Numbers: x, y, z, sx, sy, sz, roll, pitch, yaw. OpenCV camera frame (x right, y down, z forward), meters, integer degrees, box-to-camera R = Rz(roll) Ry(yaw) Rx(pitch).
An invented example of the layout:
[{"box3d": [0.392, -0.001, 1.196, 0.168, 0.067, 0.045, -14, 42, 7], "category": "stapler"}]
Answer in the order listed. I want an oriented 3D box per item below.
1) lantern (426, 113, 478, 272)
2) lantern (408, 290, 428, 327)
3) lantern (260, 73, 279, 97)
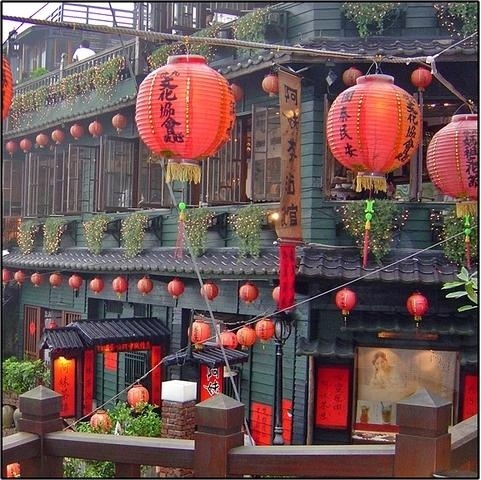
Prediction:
[{"box3d": [2.658, -0.925, 13.366, 0.695, 1.248, 0.321, 3, 10, 38], "category": "lantern"}, {"box3d": [2.431, 0.948, 14.811, 0.270, 0.553, 0.764, -2, 8, 10], "category": "lantern"}, {"box3d": [0.461, -2.299, 15.948, 0.268, 0.325, 0.291, -1, -3, 6], "category": "lantern"}]
